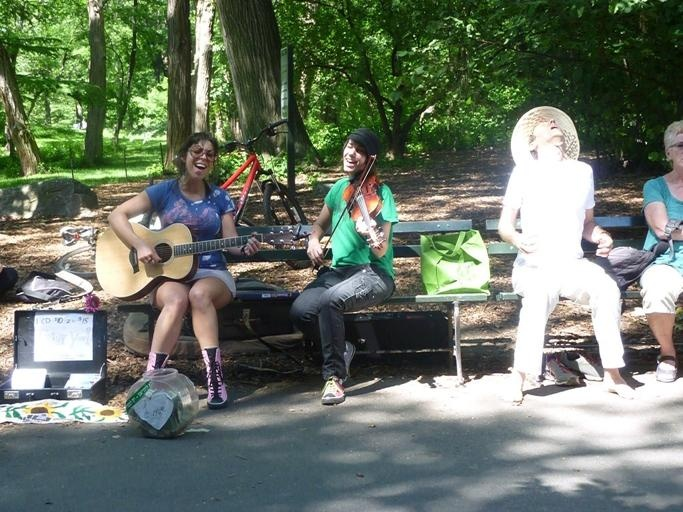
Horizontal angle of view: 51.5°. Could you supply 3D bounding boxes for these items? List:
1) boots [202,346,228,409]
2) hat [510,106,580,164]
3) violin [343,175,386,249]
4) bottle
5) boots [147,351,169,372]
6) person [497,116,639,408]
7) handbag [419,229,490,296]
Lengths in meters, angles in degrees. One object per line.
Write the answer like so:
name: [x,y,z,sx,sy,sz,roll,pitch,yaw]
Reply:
boots: [-0.900,0.902,5.080,0.171,0.325,0.472,-4,20,-1]
hat: [1.645,-1.006,5.685,0.329,0.499,0.463,-15,19,-41]
violin: [0.174,-0.362,5.341,0.256,0.572,0.091,-26,-41,18]
bottle: [-1.174,0.965,4.627,0.431,0.423,0.215,0,6,14]
boots: [-1.291,0.752,4.996,0.139,0.152,0.101,24,-33,-29]
person: [1.669,-0.076,5.329,0.942,2.160,1.082,0,6,10]
handbag: [0.915,0.057,5.732,0.548,0.516,0.387,-1,6,5]
